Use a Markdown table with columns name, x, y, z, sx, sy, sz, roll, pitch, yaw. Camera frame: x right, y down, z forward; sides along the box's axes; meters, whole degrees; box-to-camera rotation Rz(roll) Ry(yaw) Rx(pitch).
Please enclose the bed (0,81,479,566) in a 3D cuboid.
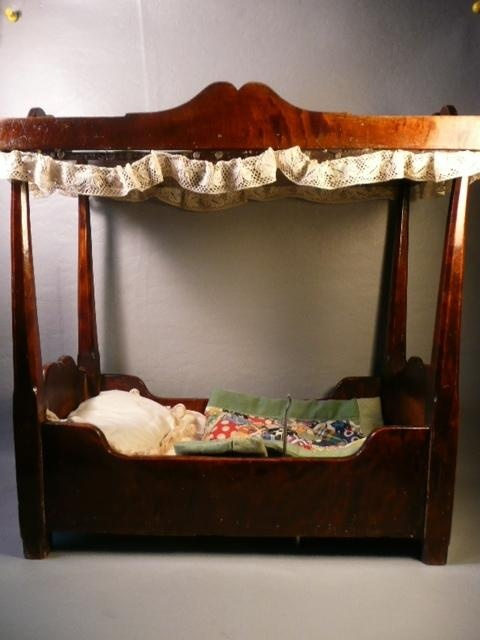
| name | x | y | z | sx | sy | sz | roll | pitch | yaw |
| --- | --- | --- | --- | --- | --- | --- | --- | --- | --- |
| bed | 0.023 | -0.030 | 2.569 | 1.610 | 2.072 | 0.743 | 0 | 3 | 3 |
